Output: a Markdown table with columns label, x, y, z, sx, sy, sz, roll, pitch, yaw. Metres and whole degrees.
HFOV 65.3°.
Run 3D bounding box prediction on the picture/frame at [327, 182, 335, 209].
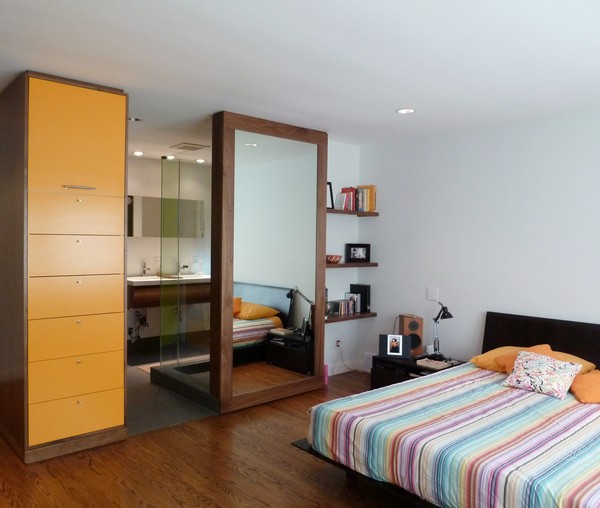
| label | x | y | z | sx | sy | sz | roll | pitch | yaw |
| --- | --- | --- | --- | --- | --- | --- | --- | --- | --- |
| picture/frame | 0.357 | -0.673 | 5.351 | 0.089 | 0.307 | 0.181 | 2 | 4 | 5 |

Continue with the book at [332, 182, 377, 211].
| label | x | y | z | sx | sy | sz | roll | pitch | yaw |
| --- | --- | --- | --- | --- | --- | --- | --- | --- | --- |
| book | 0.634 | -0.649 | 5.461 | 0.473 | 0.328 | 0.478 | 1 | 4 | -5 |

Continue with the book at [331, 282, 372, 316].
| label | x | y | z | sx | sy | sz | roll | pitch | yaw |
| --- | --- | --- | --- | --- | --- | --- | --- | --- | --- |
| book | 0.570 | 0.526 | 5.422 | 0.446 | 0.332 | 0.310 | 2 | -2 | -34 |

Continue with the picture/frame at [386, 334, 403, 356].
| label | x | y | z | sx | sy | sz | roll | pitch | yaw |
| --- | --- | --- | --- | --- | --- | --- | --- | --- | --- |
| picture/frame | 0.950 | 0.926 | 4.706 | 0.199 | 0.255 | 0.026 | -2 | -13 | 14 |

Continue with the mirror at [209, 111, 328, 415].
| label | x | y | z | sx | sy | sz | roll | pitch | yaw |
| --- | --- | --- | --- | --- | --- | --- | --- | --- | --- |
| mirror | -0.257 | 0.074 | 4.621 | 1.327 | 2.731 | 0.292 | -3 | 6 | -40 |

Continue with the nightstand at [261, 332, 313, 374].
| label | x | y | z | sx | sy | sz | roll | pitch | yaw |
| --- | --- | --- | --- | --- | --- | --- | --- | --- | --- |
| nightstand | -0.152 | 0.987 | 4.692 | 0.460 | 0.301 | 0.242 | 7 | 9 | 40 |
